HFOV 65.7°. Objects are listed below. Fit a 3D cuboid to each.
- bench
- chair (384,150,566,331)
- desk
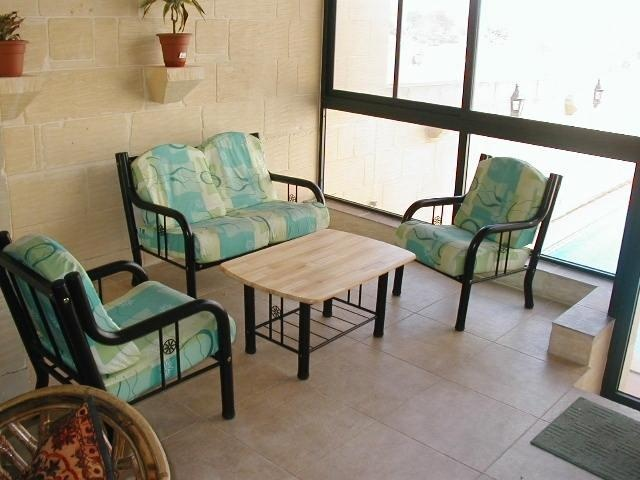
[{"bbox_3d":[-0.725,-0.277,4.093,0.974,0.859,1.439,24,31,31],"label":"bench"},{"bbox_3d":[1.141,-0.061,3.765,1.000,1.003,0.782,-17,29,-30],"label":"chair"},{"bbox_3d":[-0.057,0.254,3.092,0.935,0.616,1.330,21,30,39],"label":"desk"}]
